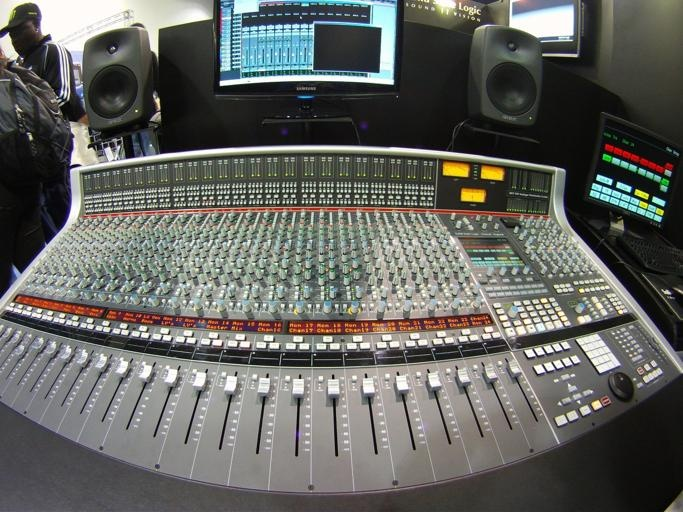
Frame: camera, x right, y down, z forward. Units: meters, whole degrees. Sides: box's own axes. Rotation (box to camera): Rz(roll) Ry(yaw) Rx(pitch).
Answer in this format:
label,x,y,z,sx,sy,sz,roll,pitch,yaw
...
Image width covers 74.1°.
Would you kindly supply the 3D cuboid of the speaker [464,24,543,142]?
label,x,y,z,sx,sy,sz,roll,pitch,yaw
speaker,1.128,-1.228,3.102,0.469,0.609,0.208,5,15,-3
